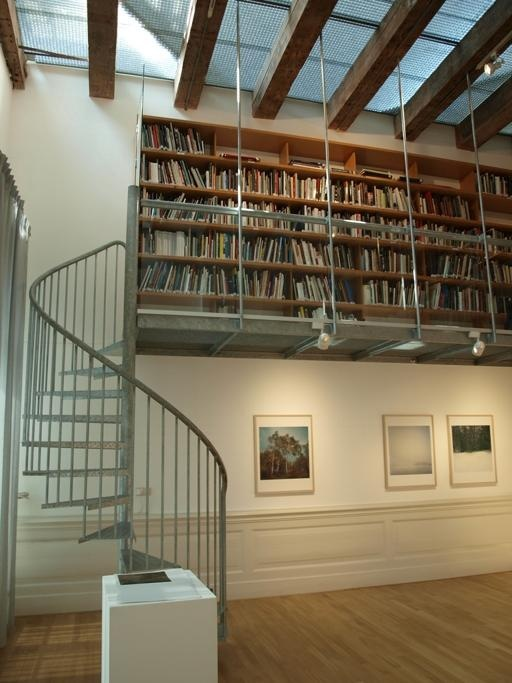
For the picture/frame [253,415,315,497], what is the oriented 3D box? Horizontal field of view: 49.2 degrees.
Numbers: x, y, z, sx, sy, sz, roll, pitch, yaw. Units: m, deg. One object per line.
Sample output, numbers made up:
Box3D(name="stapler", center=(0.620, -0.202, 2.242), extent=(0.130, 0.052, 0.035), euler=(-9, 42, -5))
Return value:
Box3D(name="picture/frame", center=(0.257, 1.213, 5.724), extent=(0.812, 1.008, 0.033), euler=(3, -12, -19))
